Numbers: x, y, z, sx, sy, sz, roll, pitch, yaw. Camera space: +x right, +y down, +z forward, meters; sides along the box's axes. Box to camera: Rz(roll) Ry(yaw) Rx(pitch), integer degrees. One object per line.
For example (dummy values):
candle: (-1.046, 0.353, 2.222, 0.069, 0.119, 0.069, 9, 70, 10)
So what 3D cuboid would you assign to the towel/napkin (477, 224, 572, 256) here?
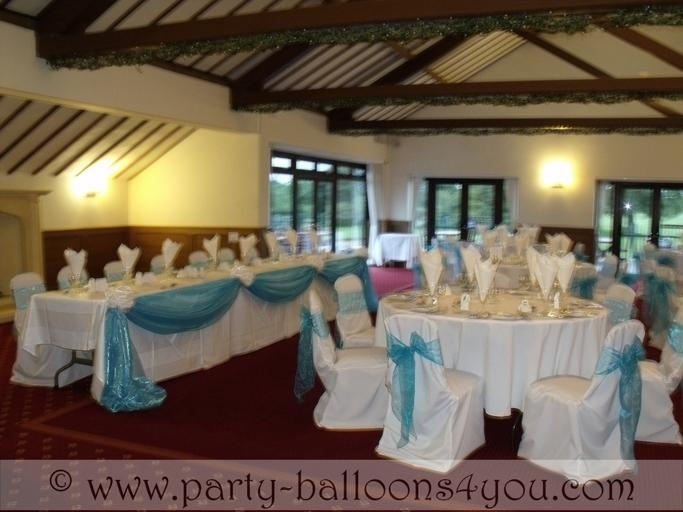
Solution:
towel/napkin: (2.849, -0.246, 7.798, 1.101, 0.445, 1.011, 1, 3, 5)

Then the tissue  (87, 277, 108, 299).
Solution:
tissue : (-2.361, 0.321, 4.698, 0.161, 0.183, 0.221, 1, -4, -12)

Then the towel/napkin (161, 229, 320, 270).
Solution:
towel/napkin: (-1.661, -0.094, 7.498, 1.504, 0.497, 0.935, -2, -9, 4)

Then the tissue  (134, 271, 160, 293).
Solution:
tissue : (-2.045, 0.279, 5.060, 0.207, 0.081, 0.235, 4, 13, -2)

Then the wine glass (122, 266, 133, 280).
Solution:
wine glass: (-2.258, 0.179, 5.155, 0.090, 0.107, 0.152, 0, 1, -29)
